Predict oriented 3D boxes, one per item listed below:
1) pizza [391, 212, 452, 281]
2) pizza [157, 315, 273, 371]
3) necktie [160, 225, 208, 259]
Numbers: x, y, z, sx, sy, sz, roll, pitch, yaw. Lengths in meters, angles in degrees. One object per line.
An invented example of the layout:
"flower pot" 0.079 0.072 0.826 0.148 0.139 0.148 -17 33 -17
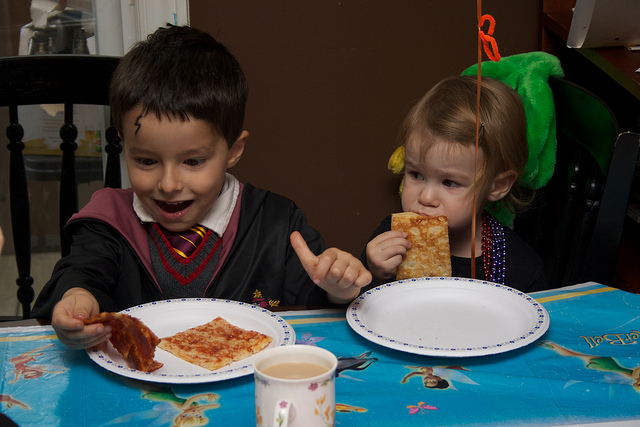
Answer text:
"pizza" 0.329 0.108 1.620 0.192 0.205 0.156 3 15 2
"pizza" -0.251 0.303 1.174 0.246 0.028 0.248 5 12 -5
"necktie" -0.456 0.089 1.646 0.150 0.103 0.063 -1 15 -15
